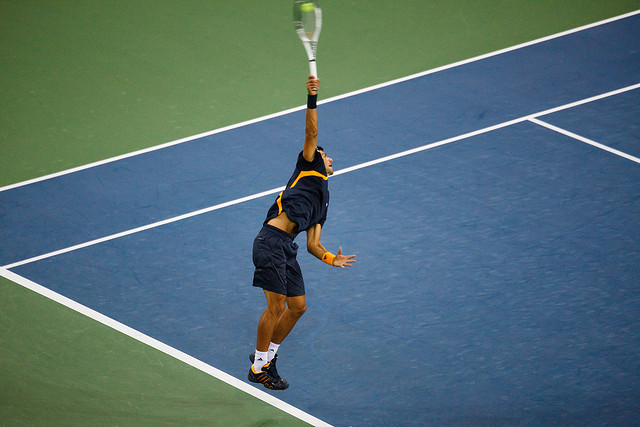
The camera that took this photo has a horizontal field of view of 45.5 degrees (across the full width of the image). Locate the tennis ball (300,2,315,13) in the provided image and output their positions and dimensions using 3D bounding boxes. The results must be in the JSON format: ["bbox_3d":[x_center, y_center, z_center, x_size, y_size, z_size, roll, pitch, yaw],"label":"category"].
[{"bbox_3d":[-0.154,-2.595,9.575,0.141,0.080,0.136,0,17,0],"label":"tennis ball"}]
